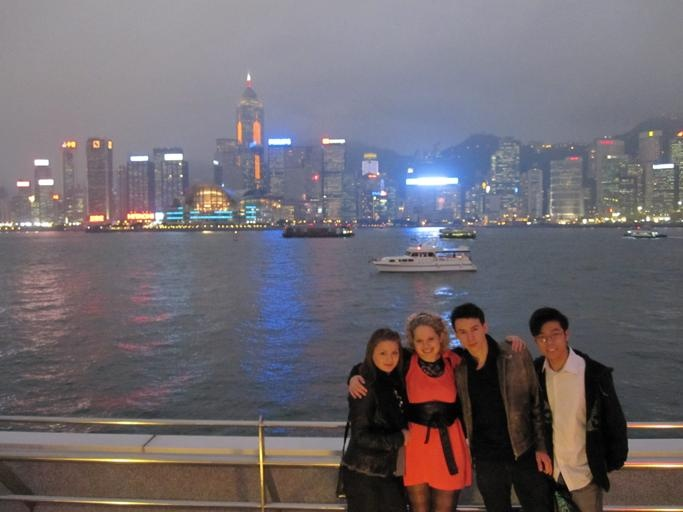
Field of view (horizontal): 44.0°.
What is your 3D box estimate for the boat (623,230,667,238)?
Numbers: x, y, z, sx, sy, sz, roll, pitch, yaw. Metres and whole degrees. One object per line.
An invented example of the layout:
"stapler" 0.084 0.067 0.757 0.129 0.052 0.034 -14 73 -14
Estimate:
"boat" 53.024 -3.862 147.945 5.329 1.198 3.714 0 0 2
